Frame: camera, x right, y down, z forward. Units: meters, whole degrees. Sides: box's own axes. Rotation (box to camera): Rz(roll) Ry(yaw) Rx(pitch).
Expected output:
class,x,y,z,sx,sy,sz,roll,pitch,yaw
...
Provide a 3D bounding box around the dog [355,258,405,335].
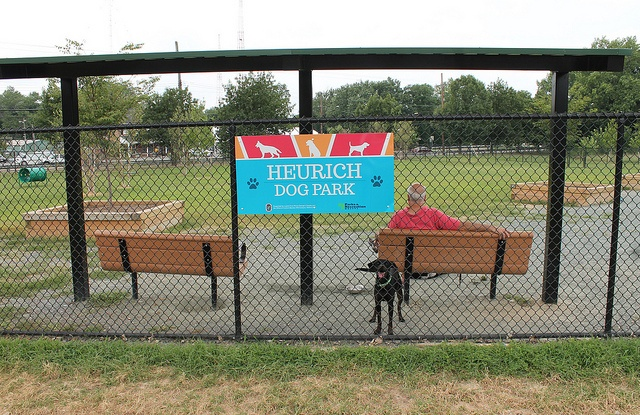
class,x,y,z,sx,sy,sz,roll,pitch,yaw
dog,1.163,1.496,13.241,0.711,1.293,2.063,0,2,9

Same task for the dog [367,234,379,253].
class,x,y,z,sx,sy,sz,roll,pitch,yaw
dog,0.998,0.702,13.750,0.117,0.402,0.156,-5,16,11
